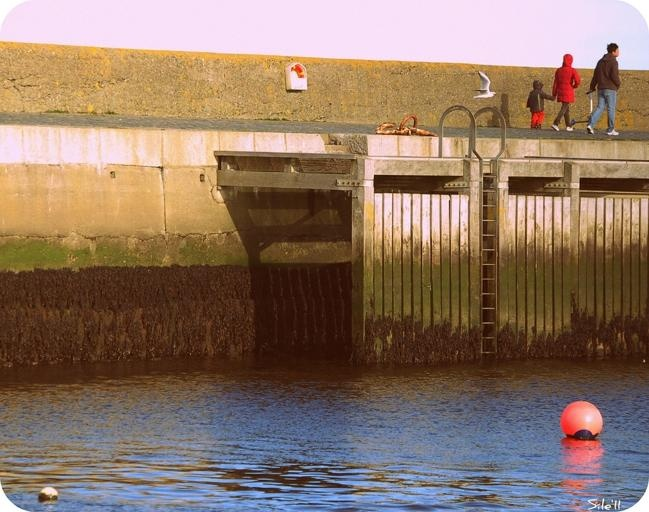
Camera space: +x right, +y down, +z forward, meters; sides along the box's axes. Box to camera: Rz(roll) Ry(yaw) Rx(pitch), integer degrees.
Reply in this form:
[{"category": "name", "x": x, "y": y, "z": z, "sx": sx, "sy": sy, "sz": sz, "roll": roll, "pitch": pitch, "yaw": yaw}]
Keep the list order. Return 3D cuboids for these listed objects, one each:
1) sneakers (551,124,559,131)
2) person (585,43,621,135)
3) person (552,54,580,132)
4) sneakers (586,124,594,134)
[{"category": "sneakers", "x": 4.415, "y": -2.444, "z": 39.361, "sx": 0.071, "sy": 0.059, "sz": 0.171, "roll": -24, "pitch": 29, "yaw": -10}, {"category": "person", "x": 5.161, "y": -3.051, "z": 38.232, "sx": 0.570, "sy": 1.640, "sz": 0.808, "roll": -1, "pitch": 0, "yaw": 7}, {"category": "person", "x": 4.612, "y": -3.078, "z": 39.443, "sx": 0.529, "sy": 1.372, "sz": 2.014, "roll": -1, "pitch": 0, "yaw": 6}, {"category": "sneakers", "x": 4.941, "y": -2.346, "z": 38.401, "sx": 0.077, "sy": 0.110, "sz": 0.242, "roll": -4, "pitch": -24, "yaw": 18}]
